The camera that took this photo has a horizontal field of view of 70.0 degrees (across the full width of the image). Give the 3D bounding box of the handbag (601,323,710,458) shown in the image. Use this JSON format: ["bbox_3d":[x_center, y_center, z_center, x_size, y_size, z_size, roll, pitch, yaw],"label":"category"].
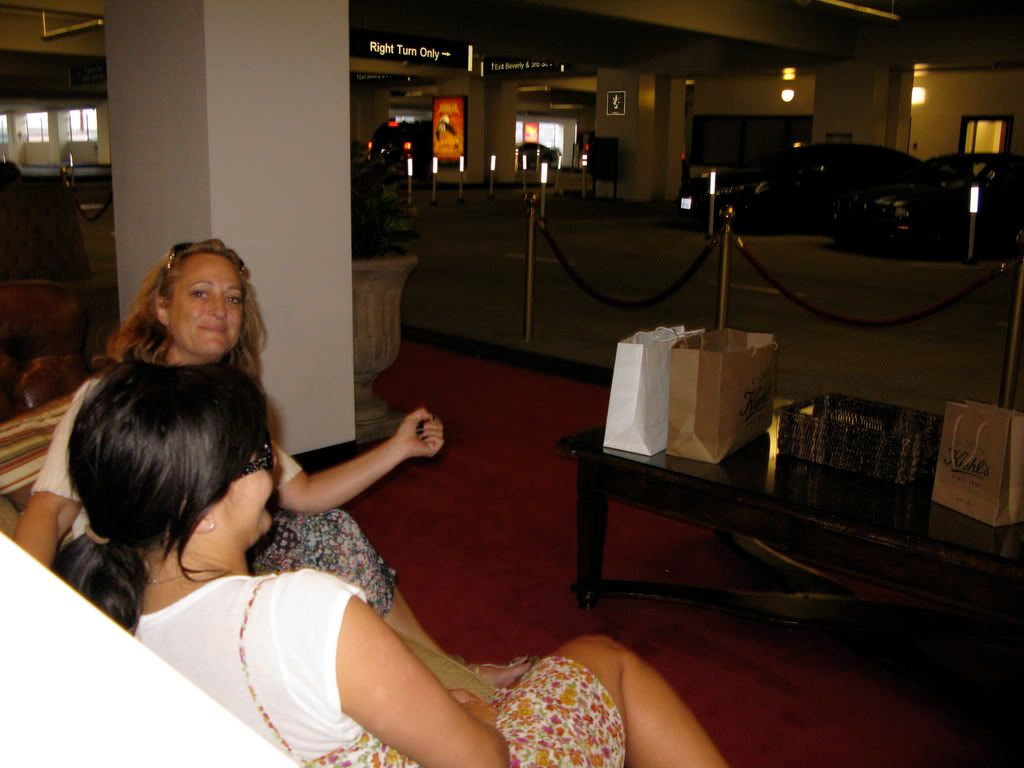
[{"bbox_3d":[0.499,0.043,2.543,0.182,0.546,0.514,16,22,35],"label":"handbag"}]
